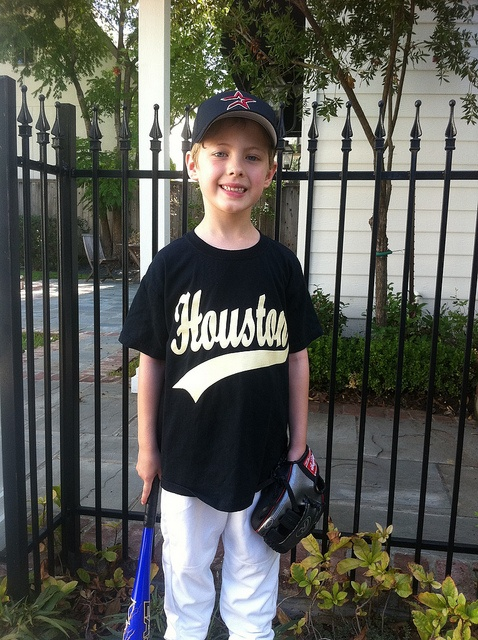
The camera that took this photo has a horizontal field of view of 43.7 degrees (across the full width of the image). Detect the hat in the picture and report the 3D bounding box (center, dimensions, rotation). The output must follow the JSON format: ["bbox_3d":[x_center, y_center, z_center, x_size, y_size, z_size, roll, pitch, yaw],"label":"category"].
[{"bbox_3d":[-0.013,-0.472,1.479,0.184,0.138,0.284,3,14,-4],"label":"hat"}]

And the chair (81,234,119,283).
[{"bbox_3d":[-3.019,-1.350,12.788,0.592,0.912,0.451,7,28,15],"label":"chair"}]
